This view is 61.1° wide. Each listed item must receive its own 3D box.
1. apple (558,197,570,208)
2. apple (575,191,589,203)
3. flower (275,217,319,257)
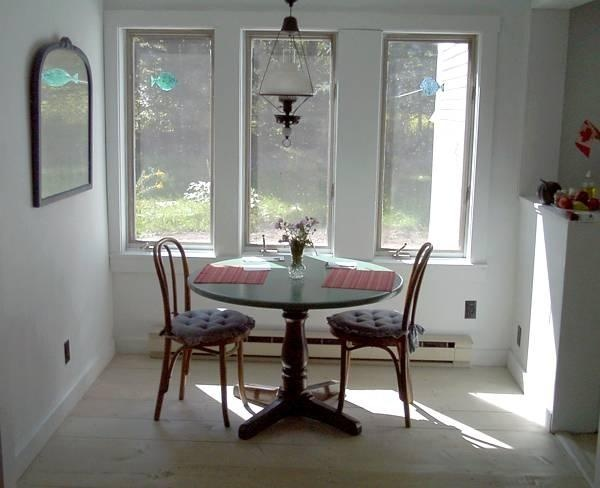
[{"bbox_3d":[1.538,-0.236,2.961,0.057,0.063,0.044,5,-5,-40],"label":"apple"},{"bbox_3d":[1.637,-0.272,2.954,0.039,0.073,0.053,40,-29,-27],"label":"apple"},{"bbox_3d":[-0.032,-0.073,3.049,0.272,0.230,0.281,-2,-3,27],"label":"flower"}]
